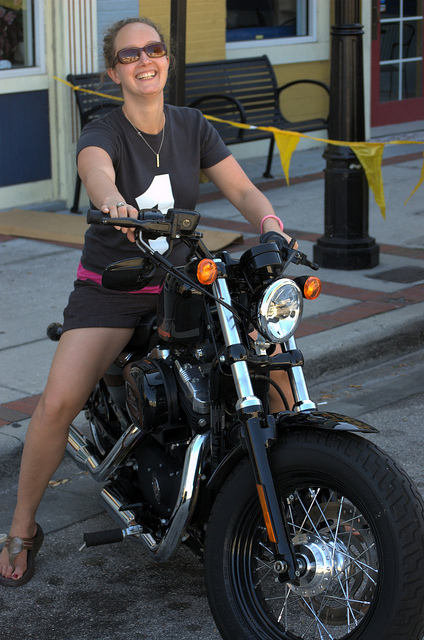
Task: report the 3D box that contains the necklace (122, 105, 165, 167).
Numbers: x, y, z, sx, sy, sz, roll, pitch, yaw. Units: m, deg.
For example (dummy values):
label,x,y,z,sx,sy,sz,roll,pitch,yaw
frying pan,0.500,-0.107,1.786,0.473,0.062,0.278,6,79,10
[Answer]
label,x,y,z,sx,sy,sz,roll,pitch,yaw
necklace,-0.243,-0.660,2.108,0.148,0.217,0.084,-1,8,-6

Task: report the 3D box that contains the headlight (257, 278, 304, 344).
label,x,y,z,sx,sy,sz,roll,pitch,yaw
headlight,0.166,-0.022,1.425,0.075,0.158,0.168,6,10,37
